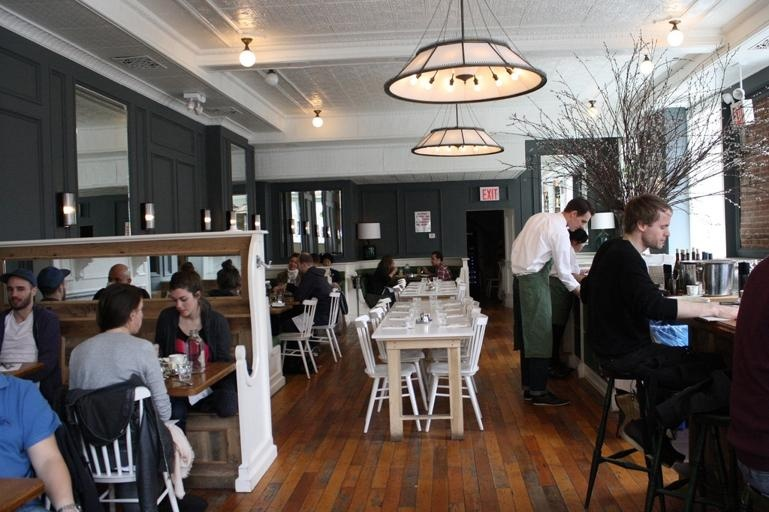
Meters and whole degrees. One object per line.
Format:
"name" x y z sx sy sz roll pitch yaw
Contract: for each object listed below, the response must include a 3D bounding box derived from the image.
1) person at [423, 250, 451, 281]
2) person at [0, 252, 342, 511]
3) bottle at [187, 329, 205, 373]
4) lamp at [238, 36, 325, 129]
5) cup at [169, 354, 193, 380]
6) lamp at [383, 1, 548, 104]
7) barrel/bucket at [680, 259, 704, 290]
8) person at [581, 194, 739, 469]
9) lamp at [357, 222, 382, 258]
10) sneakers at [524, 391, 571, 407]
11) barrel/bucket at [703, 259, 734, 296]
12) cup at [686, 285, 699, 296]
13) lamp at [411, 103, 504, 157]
"person" 1.153 0.223 12.201 0.562 0.814 0.683 -1 0 19
"person" -1.835 1.054 4.637 2.036 1.533 0.810 -2 -5 8
"bottle" -1.549 0.775 4.573 0.141 0.315 0.334 -4 6 -19
"lamp" -1.585 -2.580 8.396 0.295 0.539 2.127 -16 -27 22
"cup" -1.578 0.865 4.302 0.172 0.190 0.179 -2 -7 0
"lamp" 0.640 -1.482 4.497 0.877 0.922 0.791 0 -11 -6
"barrel/bucket" 2.632 0.140 4.769 0.206 0.222 0.201 0 -4 0
"person" 2.044 0.569 4.252 1.123 1.986 1.058 7 9 20
"lamp" -0.371 -0.371 13.623 0.571 0.889 0.571 -3 5 0
"sneakers" 1.820 1.601 6.236 0.492 0.194 0.165 -3 0 2
"barrel/bucket" 2.715 0.185 4.516 0.289 0.257 0.241 -1 -1 1
"cup" 2.613 0.294 4.711 0.086 0.062 0.081 0 4 0
"lamp" 1.077 -1.622 8.188 1.017 1.148 1.058 -2 -3 42
